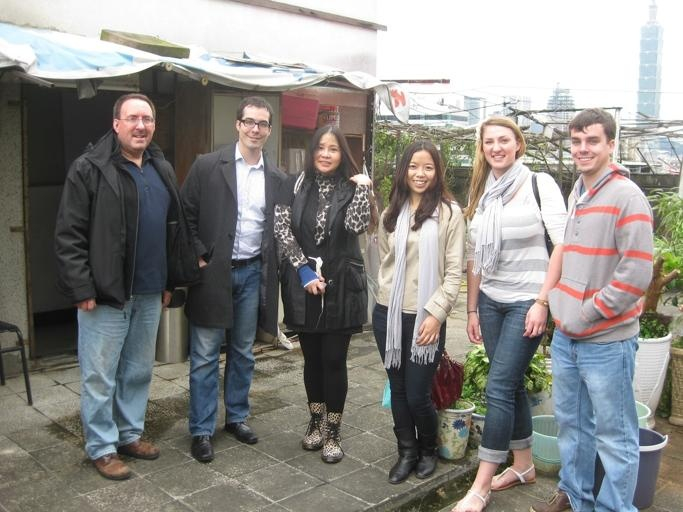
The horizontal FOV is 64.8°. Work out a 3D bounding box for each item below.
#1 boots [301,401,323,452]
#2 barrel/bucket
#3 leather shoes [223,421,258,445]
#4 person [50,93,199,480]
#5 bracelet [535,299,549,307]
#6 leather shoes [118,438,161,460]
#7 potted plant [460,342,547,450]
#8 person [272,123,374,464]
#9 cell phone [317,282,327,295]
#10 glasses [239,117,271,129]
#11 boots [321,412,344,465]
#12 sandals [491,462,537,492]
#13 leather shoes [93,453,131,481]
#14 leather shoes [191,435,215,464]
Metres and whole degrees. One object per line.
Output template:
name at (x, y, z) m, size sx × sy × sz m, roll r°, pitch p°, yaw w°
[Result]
boots at (-0.201, 1.301, 4.195) m, size 0.149 × 0.293 × 0.429 m, roll -1°, pitch 11°, yaw 11°
barrel/bucket at (1.971, 1.453, 3.687) m, size 0.528 × 0.498 × 0.567 m, roll 2°, pitch -1°, yaw 0°
leather shoes at (-0.800, 1.372, 4.275) m, size 0.108 × 0.115 × 0.316 m, roll -6°, pitch 9°, yaw -43°
person at (-1.505, 0.190, 3.751) m, size 0.490 × 2.603 × 0.803 m, roll 9°, pitch 10°, yaw 42°
bracelet at (1.263, 0.286, 3.387) m, size 0.057 × 0.025 × 0.048 m, roll 29°, pitch 16°, yaw 32°
leather shoes at (-1.487, 1.426, 4.001) m, size 0.290 × 0.121 × 0.126 m, roll 2°, pitch 2°, yaw -3°
potted plant at (1.366, 1.039, 4.496) m, size 0.679 × 0.648 × 0.571 m, roll -5°, pitch -18°, yaw 30°
person at (-0.143, 0.278, 3.977) m, size 0.748 × 2.432 × 0.417 m, roll 3°, pitch 8°, yaw 3°
cell phone at (-0.134, 0.226, 3.821) m, size 0.035 × 0.102 × 0.077 m, roll 9°, pitch 10°, yaw 39°
glasses at (-0.635, -0.973, 3.955) m, size 0.222 × 0.066 × 0.086 m, roll 2°, pitch 8°, yaw -4°
boots at (-0.067, 1.364, 4.037) m, size 0.165 × 0.310 × 0.437 m, roll -3°, pitch -4°, yaw 0°
sandals at (1.200, 1.562, 3.801) m, size 0.318 × 0.121 × 0.149 m, roll -2°, pitch -2°, yaw -14°
leather shoes at (-1.561, 1.449, 3.692) m, size 0.314 × 0.121 × 0.117 m, roll 6°, pitch 5°, yaw 39°
leather shoes at (-1.001, 1.422, 3.945) m, size 0.096 × 0.105 × 0.268 m, roll 1°, pitch -3°, yaw -18°
